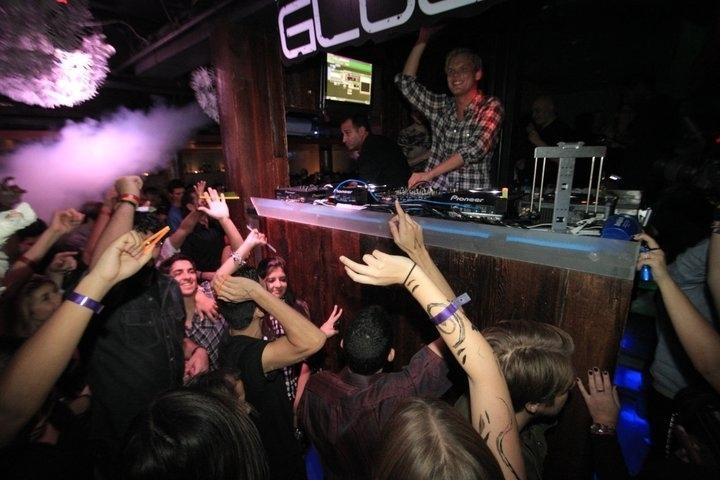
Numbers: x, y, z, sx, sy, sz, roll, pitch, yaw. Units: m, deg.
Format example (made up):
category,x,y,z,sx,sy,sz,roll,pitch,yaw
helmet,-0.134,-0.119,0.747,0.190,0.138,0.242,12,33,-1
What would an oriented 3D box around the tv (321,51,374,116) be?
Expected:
category,x,y,z,sx,sy,sz,roll,pitch,yaw
tv,-0.174,-1.996,5.213,0.138,0.747,1.075,14,18,40
